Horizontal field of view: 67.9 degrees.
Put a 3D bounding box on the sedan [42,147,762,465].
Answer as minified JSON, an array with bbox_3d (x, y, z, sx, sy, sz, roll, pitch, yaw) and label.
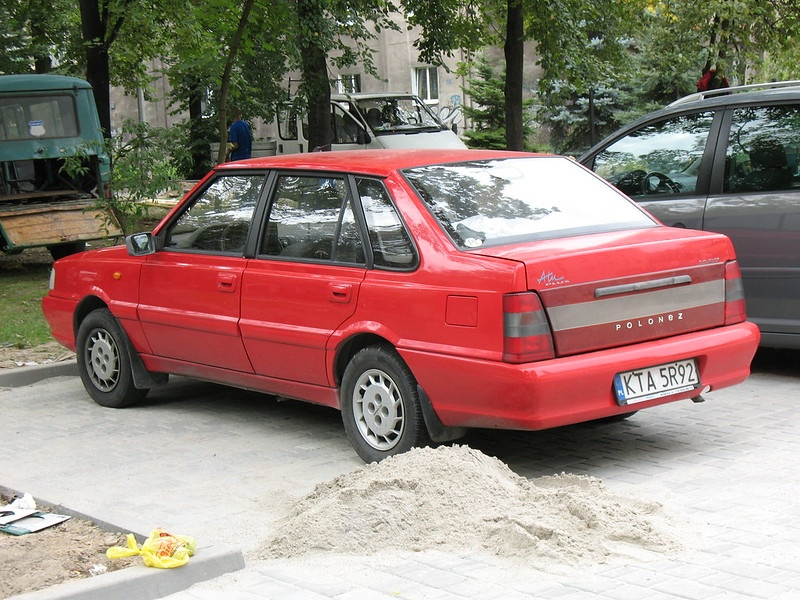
[{"bbox_3d":[-0.601,-0.133,5.289,5.743,1.456,2.712,7,12,35],"label":"sedan"}]

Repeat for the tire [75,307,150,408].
[{"bbox_3d":[-2.900,0.618,6.156,0.427,0.926,1.261,-4,-5,-45],"label":"tire"}]
